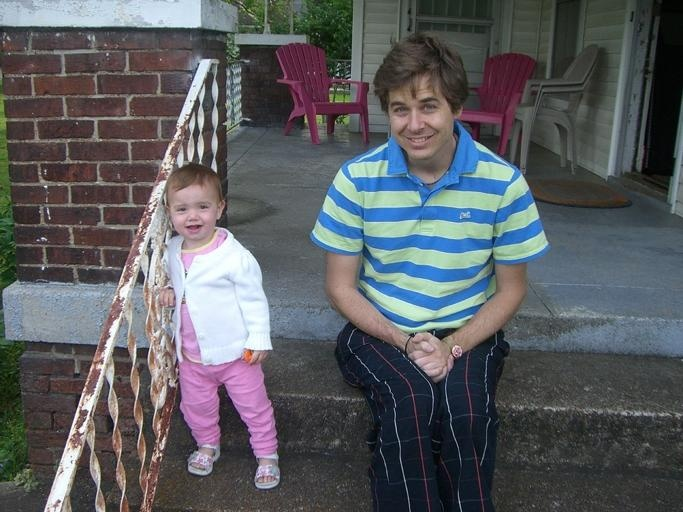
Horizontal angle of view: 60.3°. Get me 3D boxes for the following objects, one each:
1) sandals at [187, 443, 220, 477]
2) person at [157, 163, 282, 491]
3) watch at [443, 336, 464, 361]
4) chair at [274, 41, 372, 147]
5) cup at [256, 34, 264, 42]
[{"bbox_3d":[-0.629,0.929,2.664,0.079,0.073,0.169,3,-2,0],"label":"sandals"},{"bbox_3d":[-0.537,0.316,2.587,0.527,1.374,0.408,0,18,3],"label":"person"},{"bbox_3d":[0.458,0.378,2.464,0.075,0.049,0.087,39,11,-45],"label":"watch"},{"bbox_3d":[-0.329,-2.245,8.004,0.849,0.980,1.048,-7,28,-31],"label":"chair"},{"bbox_3d":[-1.308,-3.464,9.439,0.106,0.106,0.058,-1,-5,-1],"label":"cup"}]
